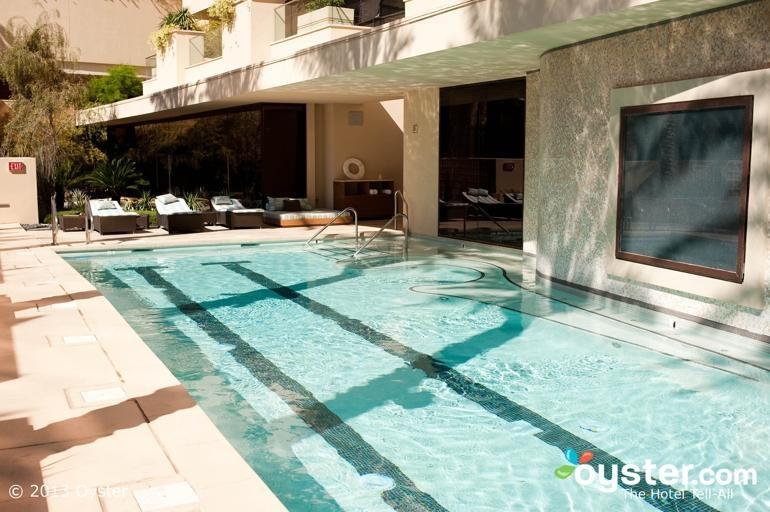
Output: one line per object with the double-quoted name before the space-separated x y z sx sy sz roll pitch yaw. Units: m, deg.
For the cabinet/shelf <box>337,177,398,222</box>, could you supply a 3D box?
"cabinet/shelf" -0.820 -2.213 17.405 2.597 1.554 0.877 -3 5 -28
